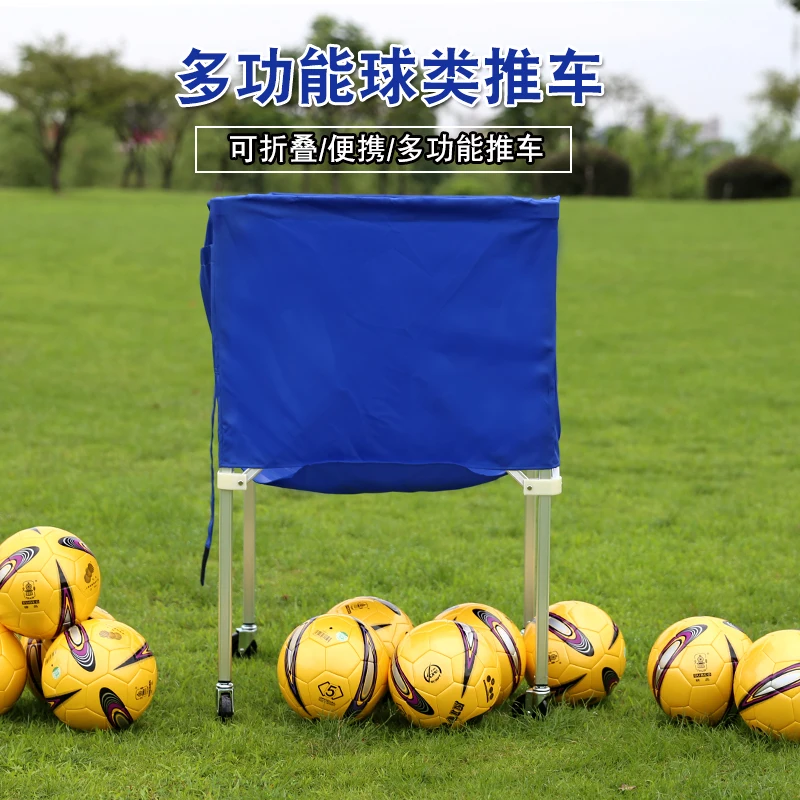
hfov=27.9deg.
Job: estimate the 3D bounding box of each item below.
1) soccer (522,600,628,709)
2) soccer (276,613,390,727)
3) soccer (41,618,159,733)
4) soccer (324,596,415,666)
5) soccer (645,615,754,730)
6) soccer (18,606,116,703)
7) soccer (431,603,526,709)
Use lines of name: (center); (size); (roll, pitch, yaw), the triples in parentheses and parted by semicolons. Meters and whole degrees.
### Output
soccer: (1.185, 1.753, 11.096); (0.566, 0.762, 0.643); (-18, -27, -10)
soccer: (-0.458, 1.790, 10.689); (0.605, 0.747, 0.640); (3, -29, 0)
soccer: (-1.971, 1.915, 10.747); (0.636, 0.856, 0.655); (-17, -22, 39)
soccer: (-0.162, 1.523, 11.140); (0.432, 0.431, 0.410); (22, 20, -15)
soccer: (2.028, 1.808, 10.801); (0.554, 0.821, 0.647); (5, -3, -18)
soccer: (-2.238, 1.660, 11.058); (0.530, 0.765, 0.588); (-20, -15, 10)
soccer: (0.581, 1.676, 10.975); (0.545, 0.741, 0.606); (-18, -23, -8)
